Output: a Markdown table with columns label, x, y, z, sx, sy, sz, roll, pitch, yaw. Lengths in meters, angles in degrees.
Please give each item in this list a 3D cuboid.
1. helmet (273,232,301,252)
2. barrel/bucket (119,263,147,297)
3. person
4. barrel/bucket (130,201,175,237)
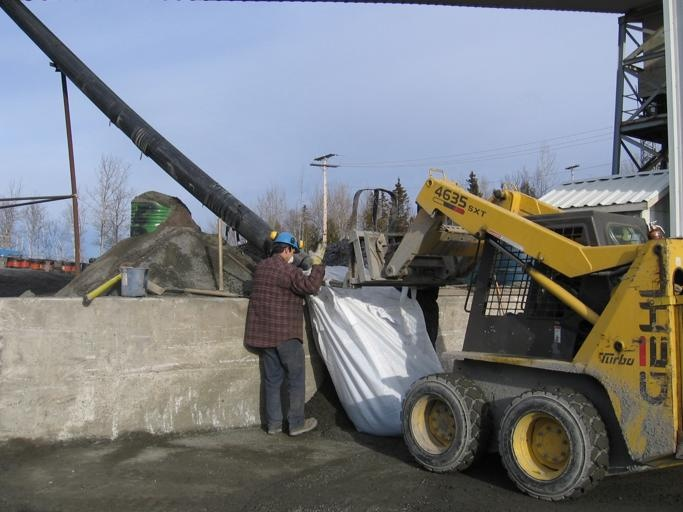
| label | x | y | z | sx | sy | sz | roll | pitch | yaw |
| --- | --- | --- | --- | --- | --- | --- | --- | --- | --- |
| helmet | -0.651 | -0.165 | 7.578 | 0.198 | 0.164 | 0.267 | 8 | 4 | 43 |
| barrel/bucket | -2.399 | 0.296 | 7.272 | 0.316 | 0.358 | 0.281 | -1 | 4 | -26 |
| person | -0.668 | 0.882 | 7.285 | 0.831 | 2.245 | 0.685 | 5 | 7 | 38 |
| barrel/bucket | -5.155 | -0.981 | 16.895 | 0.980 | 0.906 | 0.737 | -1 | 6 | -18 |
